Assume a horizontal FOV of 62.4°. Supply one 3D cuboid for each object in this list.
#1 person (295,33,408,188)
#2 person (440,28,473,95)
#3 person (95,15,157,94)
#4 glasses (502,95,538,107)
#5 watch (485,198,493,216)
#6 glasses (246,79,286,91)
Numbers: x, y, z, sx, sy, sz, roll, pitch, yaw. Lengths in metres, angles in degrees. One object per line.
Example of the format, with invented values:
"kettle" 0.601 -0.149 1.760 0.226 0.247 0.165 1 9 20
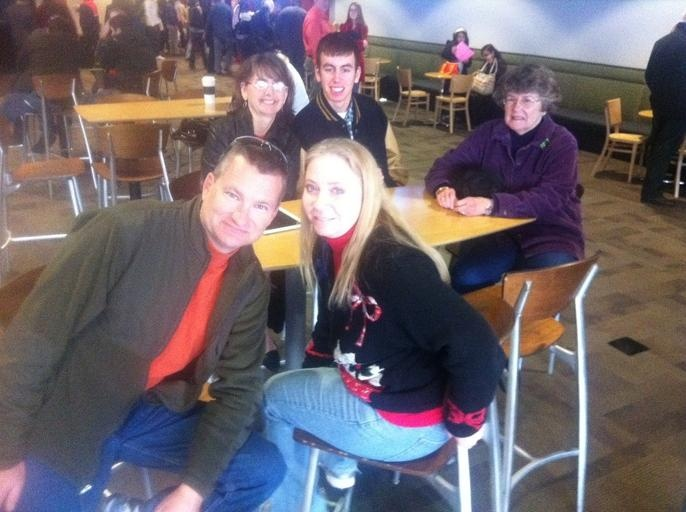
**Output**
"person" -0.007 -0.877 3.638 0.829 0.970 0.599 -12 22 -16
"person" 1.934 -3.240 9.382 0.451 0.331 0.801 -5 -22 21
"person" -2.458 -2.295 6.434 0.588 0.847 0.271 -6 16 -20
"glasses" 1.011 -0.872 3.182 0.184 0.066 0.053 5 16 21
"watch" 0.785 -0.260 3.020 0.027 0.069 0.060 10 -3 -11
"glasses" -0.457 -1.049 3.489 0.222 0.060 0.063 -4 15 -12
